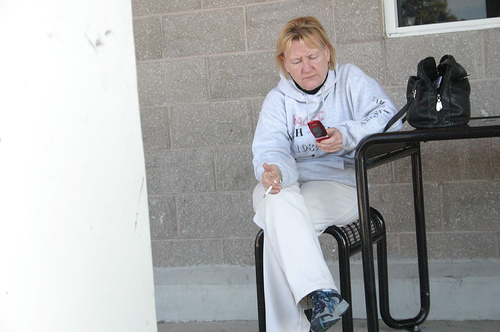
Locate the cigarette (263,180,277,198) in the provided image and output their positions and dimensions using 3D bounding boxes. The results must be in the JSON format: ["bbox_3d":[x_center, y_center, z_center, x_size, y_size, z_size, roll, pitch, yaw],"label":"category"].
[{"bbox_3d":[0.076,0.082,2.012,0.013,0.065,0.015,29,21,-10],"label":"cigarette"}]

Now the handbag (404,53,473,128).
[{"bbox_3d":[0.641,-0.254,1.909,0.240,0.250,0.226,1,4,20],"label":"handbag"}]

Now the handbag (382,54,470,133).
[{"bbox_3d":[0.618,-0.259,1.964,0.330,0.232,0.254,-7,17,9],"label":"handbag"}]

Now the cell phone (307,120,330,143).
[{"bbox_3d":[0.248,-0.124,1.973,0.070,0.060,0.051,-5,-2,11],"label":"cell phone"}]
